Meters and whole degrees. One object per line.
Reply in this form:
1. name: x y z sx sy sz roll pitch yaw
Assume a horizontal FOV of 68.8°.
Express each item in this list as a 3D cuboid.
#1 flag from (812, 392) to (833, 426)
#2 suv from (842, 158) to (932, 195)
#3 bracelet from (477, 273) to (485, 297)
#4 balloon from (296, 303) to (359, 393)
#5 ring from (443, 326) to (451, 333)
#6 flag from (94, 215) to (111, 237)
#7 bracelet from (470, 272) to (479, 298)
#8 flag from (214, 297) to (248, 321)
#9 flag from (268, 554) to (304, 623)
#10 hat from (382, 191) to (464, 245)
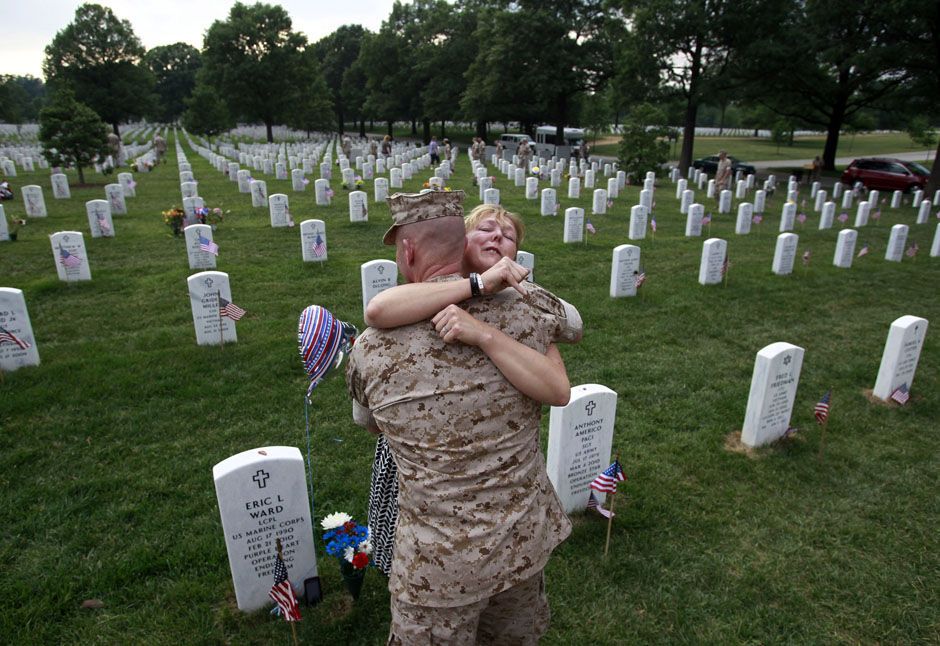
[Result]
1. flag: 5.398 1.292 10.512 0.186 0.715 0.825 7 16 27
2. suv: 18.114 -6.401 29.870 1.379 1.394 3.165 -12 18 -36
3. bracelet: 0.090 -0.341 6.054 0.104 0.136 0.156 -5 -11 -3
4. balloon: -1.736 0.151 8.347 0.702 0.715 1.130 36 15 -14
5. ring: -0.202 0.060 5.982 0.057 0.019 0.053 -20 -8 -3
6. flag: -9.787 -2.553 18.408 0.421 0.376 0.120 -16 24 -30
7. bracelet: 0.045 -0.344 6.113 0.118 0.175 0.158 -3 16 2
8. flag: -4.410 -0.244 12.626 0.567 0.547 0.094 -1 28 -32
9. flag: -2.114 2.967 7.853 0.304 1.123 0.603 -6 16 -17
10. hat: -0.407 -1.054 6.311 0.613 0.330 0.497 -16 16 4
